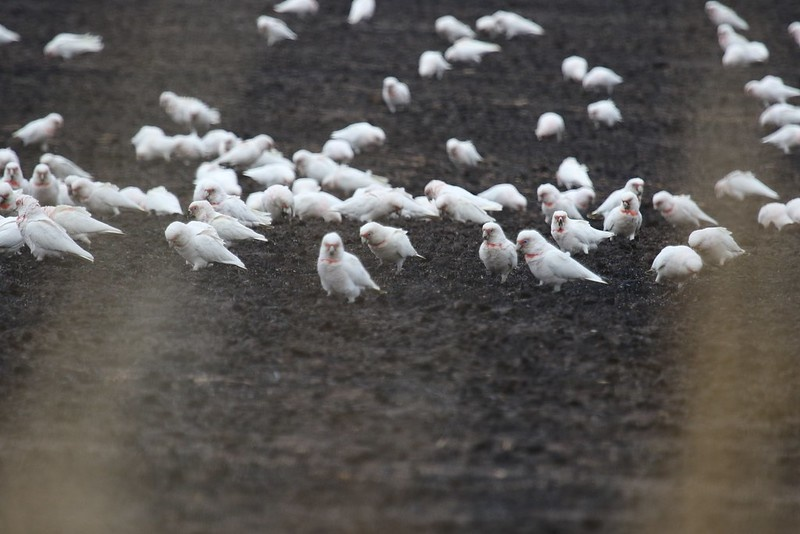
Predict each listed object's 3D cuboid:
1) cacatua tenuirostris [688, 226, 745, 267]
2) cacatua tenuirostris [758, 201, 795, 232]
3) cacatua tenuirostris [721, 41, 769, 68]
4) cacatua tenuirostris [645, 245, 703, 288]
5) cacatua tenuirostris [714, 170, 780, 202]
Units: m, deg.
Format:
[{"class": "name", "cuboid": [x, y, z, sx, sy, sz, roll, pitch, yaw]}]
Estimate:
[{"class": "cacatua tenuirostris", "cuboid": [5.609, -0.399, 24.893, 0.658, 0.510, 0.821, -41, 76, -19]}, {"class": "cacatua tenuirostris", "cuboid": [6.949, -0.932, 25.971, 0.444, 0.590, 0.605, -11, 70, -10]}, {"class": "cacatua tenuirostris", "cuboid": [7.800, -4.852, 31.644, 0.981, 0.509, 0.615, -19, 71, -13]}, {"class": "cacatua tenuirostris", "cuboid": [4.844, -0.040, 24.321, 0.616, 0.486, 1.034, -1, 23, -25]}, {"class": "cacatua tenuirostris", "cuboid": [6.698, -1.531, 26.969, 1.070, 0.564, 0.537, 20, 68, 4]}]
